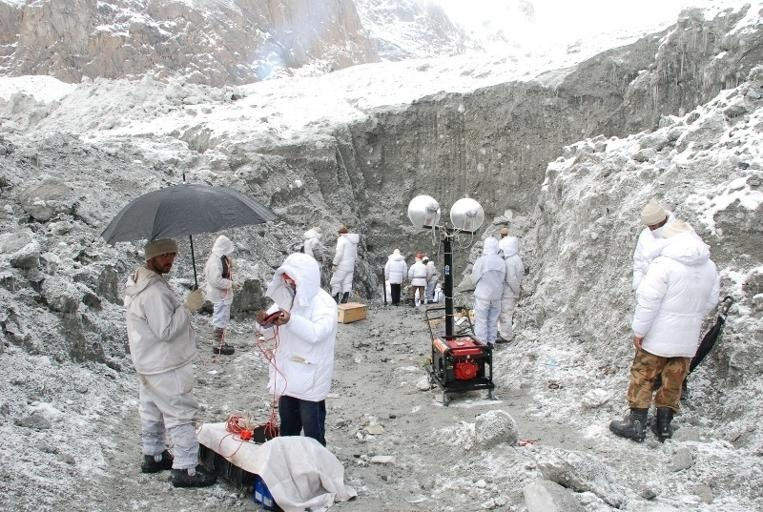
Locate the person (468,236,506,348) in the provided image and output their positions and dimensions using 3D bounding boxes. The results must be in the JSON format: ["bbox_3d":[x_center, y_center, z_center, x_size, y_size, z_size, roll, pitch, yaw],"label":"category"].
[{"bbox_3d":[2.566,0.830,22.141,0.828,2.572,0.533,-3,5,-38],"label":"person"}]

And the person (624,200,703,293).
[{"bbox_3d":[5.886,-0.184,19.300,1.406,1.973,0.832,-17,38,-17],"label":"person"}]

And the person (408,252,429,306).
[{"bbox_3d":[1.107,0.708,28.082,0.591,1.360,1.438,0,4,2],"label":"person"}]

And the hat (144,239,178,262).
[{"bbox_3d":[-4.302,-0.155,18.252,0.487,0.240,0.406,0,4,8],"label":"hat"}]

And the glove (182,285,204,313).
[{"bbox_3d":[-3.626,0.831,18.231,0.329,0.465,0.371,1,4,8],"label":"glove"}]

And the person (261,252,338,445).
[{"bbox_3d":[-1.589,1.790,18.278,1.390,3.739,0.510,0,4,-7],"label":"person"}]

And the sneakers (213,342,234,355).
[{"bbox_3d":[-3.682,2.128,21.966,0.428,0.186,0.243,1,4,0],"label":"sneakers"}]

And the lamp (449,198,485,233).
[{"bbox_3d":[1.980,-0.947,21.625,0.705,0.754,0.288,0,4,-2],"label":"lamp"}]

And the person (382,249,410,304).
[{"bbox_3d":[0.437,0.577,28.135,0.675,1.658,1.084,0,4,0],"label":"person"}]
